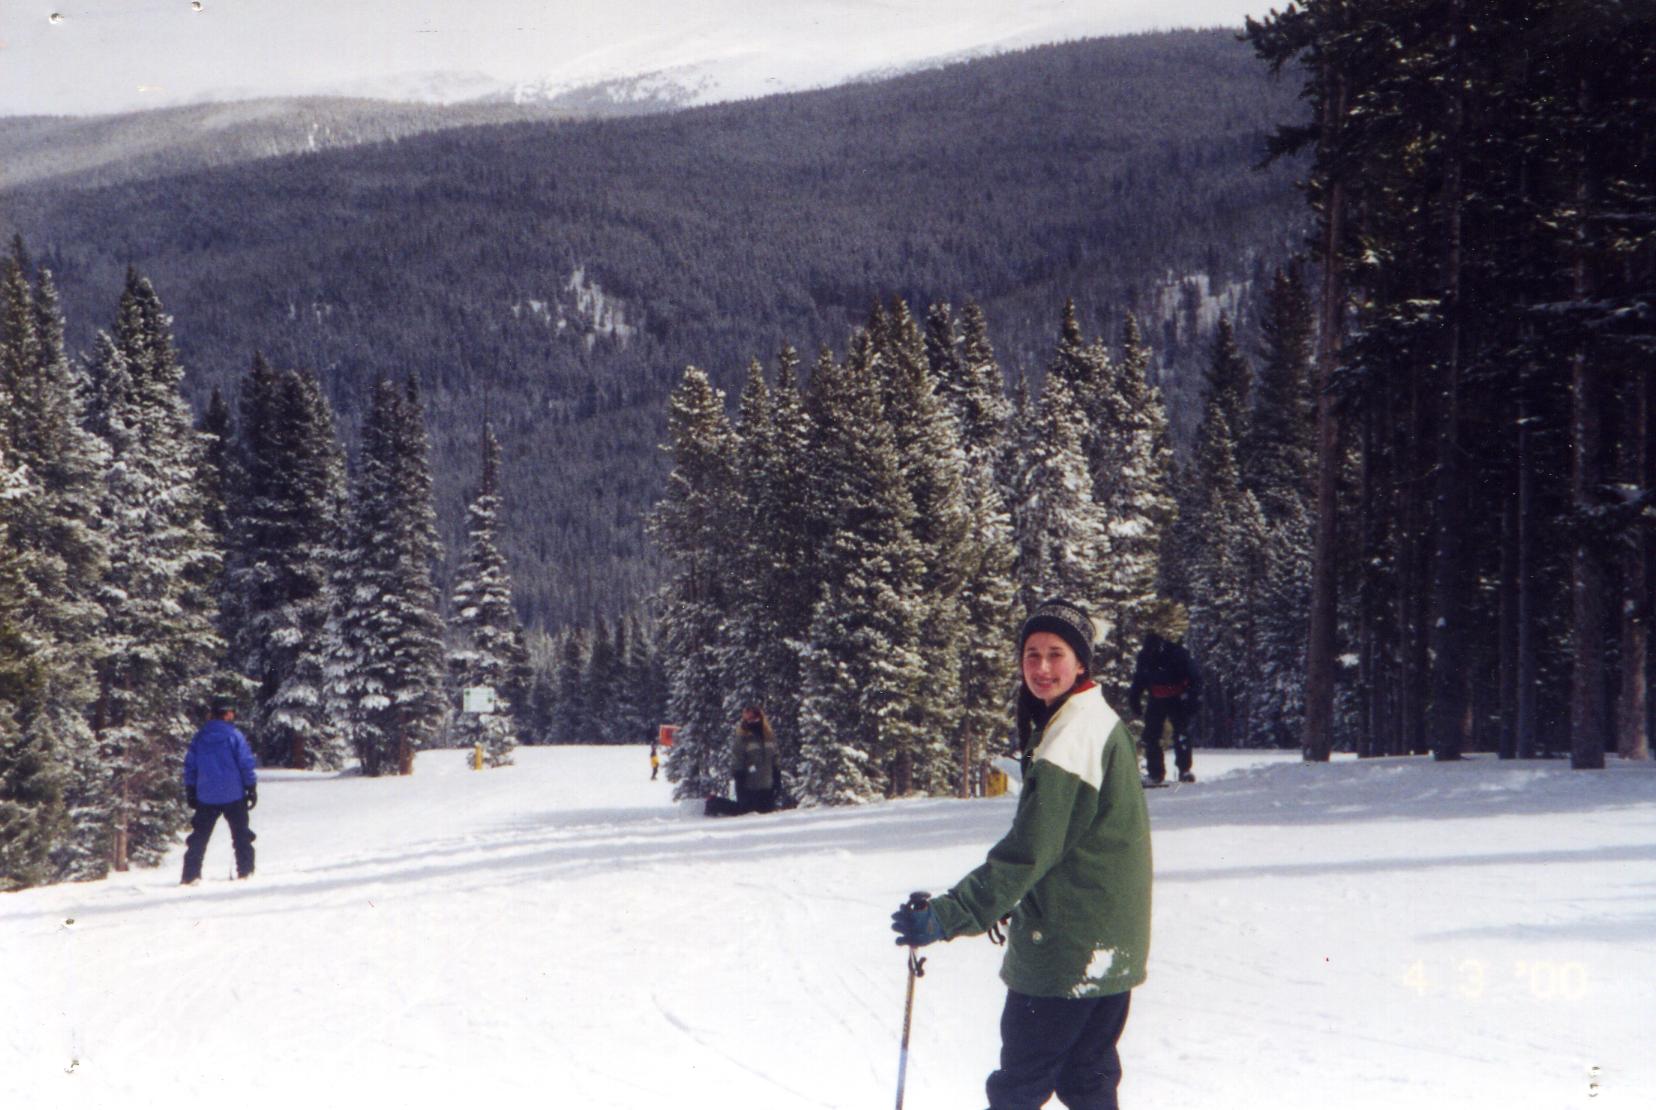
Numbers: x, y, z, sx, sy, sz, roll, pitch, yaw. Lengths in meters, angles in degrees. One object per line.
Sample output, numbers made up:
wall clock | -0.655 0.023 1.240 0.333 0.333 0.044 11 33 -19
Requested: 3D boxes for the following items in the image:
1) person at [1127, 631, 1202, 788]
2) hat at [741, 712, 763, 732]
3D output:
person | 7.255 3.263 45.580 1.388 3.766 1.161 -1 21 14
hat | -1.739 3.867 48.239 0.315 0.451 0.619 -4 -5 34
